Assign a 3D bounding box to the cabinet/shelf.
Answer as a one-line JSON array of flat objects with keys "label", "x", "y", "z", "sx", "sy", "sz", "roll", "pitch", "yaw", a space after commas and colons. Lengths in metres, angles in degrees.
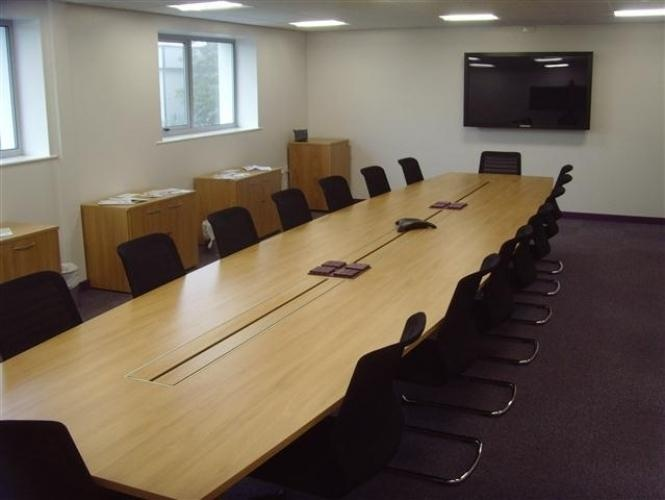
[{"label": "cabinet/shelf", "x": -0.260, "y": -1.159, "z": 7.511, "sx": 0.746, "sy": 1.435, "sz": 1.445, "roll": 3, "pitch": 6, "yaw": 16}]
